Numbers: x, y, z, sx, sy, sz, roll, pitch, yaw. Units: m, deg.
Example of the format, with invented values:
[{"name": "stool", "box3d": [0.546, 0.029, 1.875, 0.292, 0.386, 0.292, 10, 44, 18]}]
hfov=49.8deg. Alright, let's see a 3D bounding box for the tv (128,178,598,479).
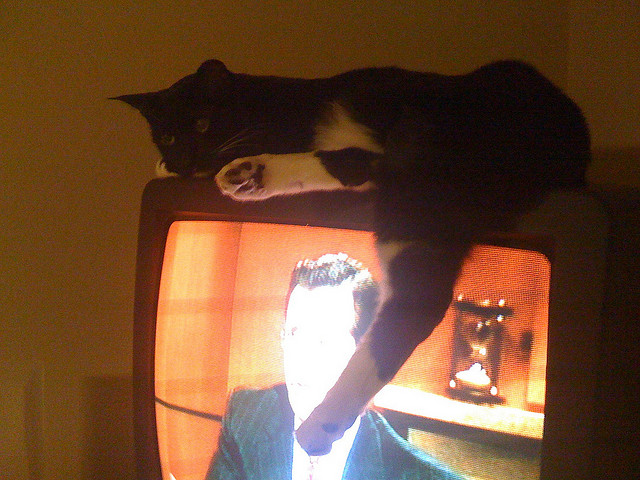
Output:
[{"name": "tv", "box3d": [0.147, 0.246, 2.123, 1.327, 1.155, 0.741, 3, 1, 8]}]
